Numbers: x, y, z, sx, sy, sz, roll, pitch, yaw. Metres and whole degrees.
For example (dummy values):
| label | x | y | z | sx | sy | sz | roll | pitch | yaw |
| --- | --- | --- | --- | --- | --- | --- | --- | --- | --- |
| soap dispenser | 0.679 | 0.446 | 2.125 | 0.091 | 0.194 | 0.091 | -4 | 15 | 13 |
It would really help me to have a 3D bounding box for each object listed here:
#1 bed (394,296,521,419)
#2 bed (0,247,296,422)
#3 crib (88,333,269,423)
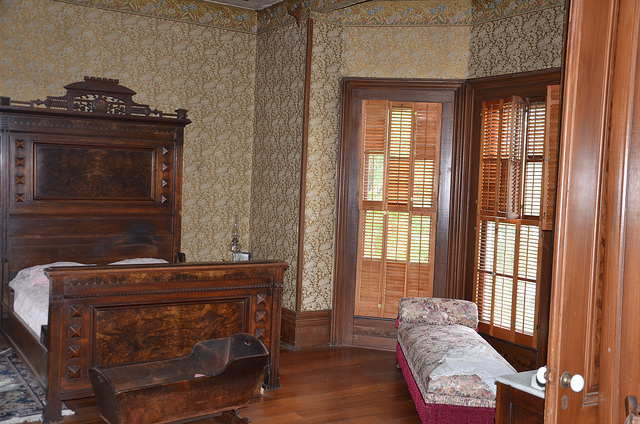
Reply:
| label | x | y | z | sx | sy | sz | roll | pitch | yaw |
| --- | --- | --- | --- | --- | --- | --- | --- | --- | --- |
| bed | 1.096 | 1.222 | 4.042 | 0.726 | 0.419 | 1.190 | -1 | 2 | -1 |
| bed | -1.823 | 0.952 | 4.795 | 3.155 | 1.229 | 2.892 | 4 | 3 | 4 |
| crib | -1.016 | 1.241 | 3.281 | 1.124 | 0.572 | 0.770 | 4 | -4 | -38 |
